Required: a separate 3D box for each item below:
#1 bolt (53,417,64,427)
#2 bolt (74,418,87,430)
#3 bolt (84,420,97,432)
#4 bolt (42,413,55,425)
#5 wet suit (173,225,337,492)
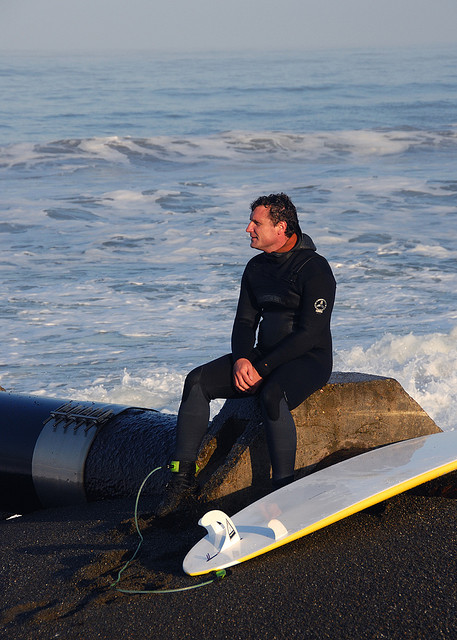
[{"bbox_3d":[-1.075,0.648,5.362,0.097,0.023,0.023,-34,83,-23],"label":"bolt"},{"bbox_3d":[-0.930,0.663,5.364,0.114,0.027,0.028,-27,-15,-3],"label":"bolt"},{"bbox_3d":[-0.866,0.668,5.336,0.029,0.022,0.150,26,32,19],"label":"bolt"},{"bbox_3d":[-1.141,0.632,5.385,0.059,0.059,0.018,45,-4,17],"label":"bolt"},{"bbox_3d":[0.171,0.163,4.543,0.771,1.178,1.020,7,23,7],"label":"wet suit"}]
